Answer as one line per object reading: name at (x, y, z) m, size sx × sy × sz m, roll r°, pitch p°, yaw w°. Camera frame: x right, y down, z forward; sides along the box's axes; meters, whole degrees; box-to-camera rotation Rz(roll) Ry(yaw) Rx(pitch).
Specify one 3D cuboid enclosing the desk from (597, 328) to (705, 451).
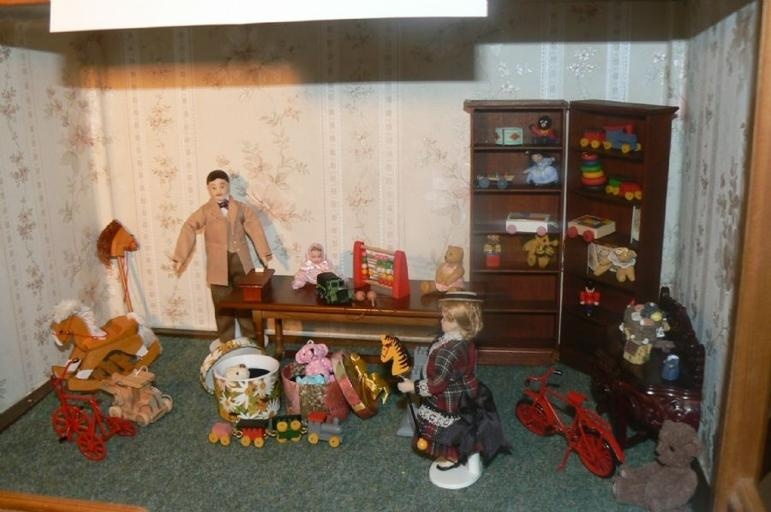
desk at (2.190, 1.153, 4.975) m, size 0.805 × 0.908 × 1.255 m, roll 5°, pitch 22°, yaw 11°

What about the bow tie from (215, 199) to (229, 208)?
bow tie at (-1.763, -0.576, 6.131) m, size 0.101 × 0.078 × 0.104 m, roll 4°, pitch 7°, yaw 44°

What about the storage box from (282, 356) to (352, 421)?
storage box at (-0.663, 1.369, 5.235) m, size 0.611 × 0.456 × 0.276 m, roll -1°, pitch 16°, yaw 3°

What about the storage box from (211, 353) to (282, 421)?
storage box at (-1.353, 1.282, 5.464) m, size 0.636 × 0.438 × 0.644 m, roll -6°, pitch 13°, yaw -30°

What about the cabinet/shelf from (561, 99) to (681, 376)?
cabinet/shelf at (2.261, -0.099, 5.730) m, size 0.904 × 2.769 × 0.463 m, roll 15°, pitch 28°, yaw 42°
